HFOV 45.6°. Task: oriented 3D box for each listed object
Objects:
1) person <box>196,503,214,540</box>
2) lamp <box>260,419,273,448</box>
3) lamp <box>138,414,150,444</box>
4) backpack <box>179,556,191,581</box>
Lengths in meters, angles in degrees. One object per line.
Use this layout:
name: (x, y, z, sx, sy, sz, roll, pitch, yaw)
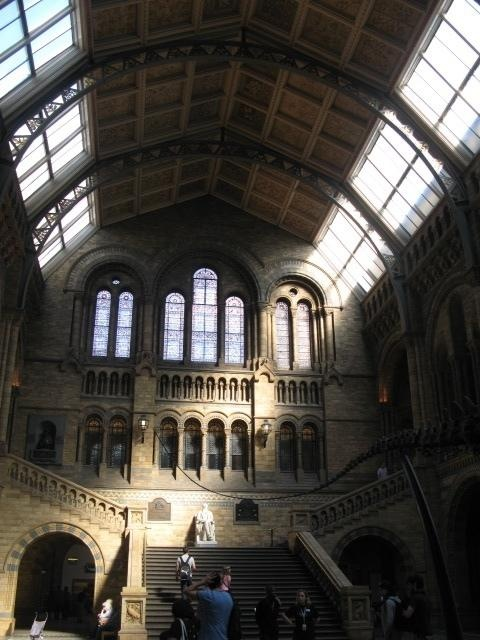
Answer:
person: (-1.431, 8.460, 23.801, 0.756, 1.425, 0.763, 1, -24, -3)
lamp: (1.310, 5.402, 27.611, 0.591, 1.358, 0.538, 5, -24, -12)
lamp: (-4.472, 4.956, 26.466, 0.510, 1.333, 0.878, 4, -24, -9)
backpack: (-1.544, 7.010, 16.312, 0.368, 0.617, 0.671, 3, -23, -6)
